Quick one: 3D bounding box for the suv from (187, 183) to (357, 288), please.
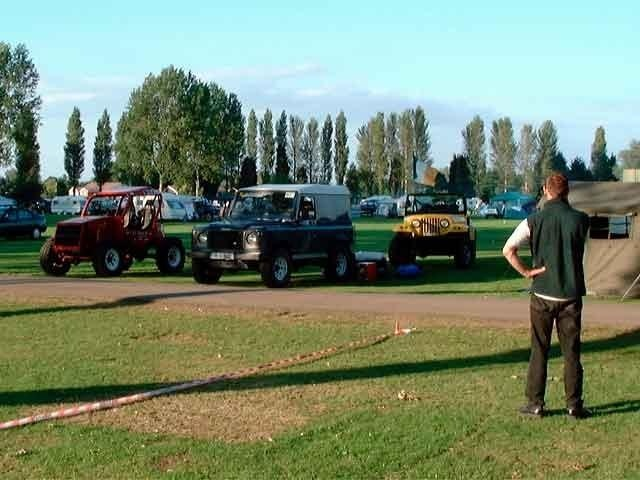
[{"bbox_3d":[-1.095,-0.117,18.361,2.095,2.384,3.880,-2,-3,36],"label":"suv"}]

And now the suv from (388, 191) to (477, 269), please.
[{"bbox_3d":[3.462,-0.462,21.774,1.605,1.915,2.998,-1,-4,10],"label":"suv"}]

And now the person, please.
[{"bbox_3d":[2.421,0.561,7.586,0.770,2.544,0.432,0,3,23],"label":"person"}]

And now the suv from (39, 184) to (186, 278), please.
[{"bbox_3d":[-6.042,-0.156,20.675,2.236,2.599,3.262,-1,-2,36],"label":"suv"}]

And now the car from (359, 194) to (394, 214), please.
[{"bbox_3d":[5.623,-4.035,77.742,2.962,1.776,1.894,1,-2,-42],"label":"car"}]

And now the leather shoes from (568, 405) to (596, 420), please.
[{"bbox_3d":[2.706,1.769,7.463,0.259,0.139,0.111,-8,9,-38],"label":"leather shoes"}]

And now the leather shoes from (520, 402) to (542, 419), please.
[{"bbox_3d":[2.223,1.791,7.581,0.194,0.113,0.096,7,4,29],"label":"leather shoes"}]
